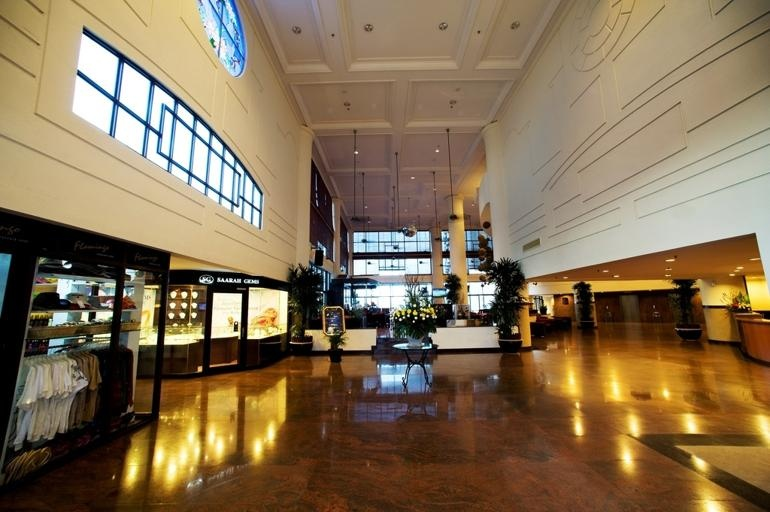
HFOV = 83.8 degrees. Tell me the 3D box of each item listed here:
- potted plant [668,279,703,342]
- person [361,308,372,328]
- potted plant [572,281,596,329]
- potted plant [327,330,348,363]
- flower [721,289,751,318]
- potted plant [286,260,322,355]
[{"bbox_3d":[10.212,1.830,14.613,0.803,2.205,1.057,1,7,24],"label":"potted plant"},{"bbox_3d":[-0.824,2.766,18.805,0.588,1.172,0.608,0,-8,-4],"label":"person"},{"bbox_3d":[9.513,2.310,20.351,0.877,2.127,1.006,-1,7,8],"label":"potted plant"},{"bbox_3d":[-1.153,2.570,12.177,0.664,1.027,0.682,-2,-9,13],"label":"potted plant"},{"bbox_3d":[10.807,1.495,13.144,0.665,0.716,0.977,1,8,19],"label":"flower"},{"bbox_3d":[-2.525,1.667,13.173,0.920,2.590,0.905,2,7,30],"label":"potted plant"}]
